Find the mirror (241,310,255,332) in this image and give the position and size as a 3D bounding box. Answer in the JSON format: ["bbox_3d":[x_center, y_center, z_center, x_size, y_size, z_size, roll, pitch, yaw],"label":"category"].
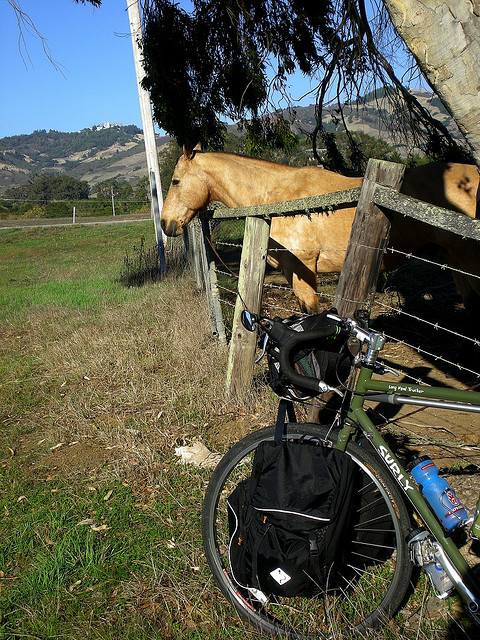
[{"bbox_3d":[0.025,-0.003,1.623,0.049,0.086,0.094,-1,20,-1],"label":"mirror"}]

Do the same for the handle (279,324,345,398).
[{"bbox_3d":[0.235,0.093,1.485,0.244,0.249,0.070,15,13,-42],"label":"handle"}]
